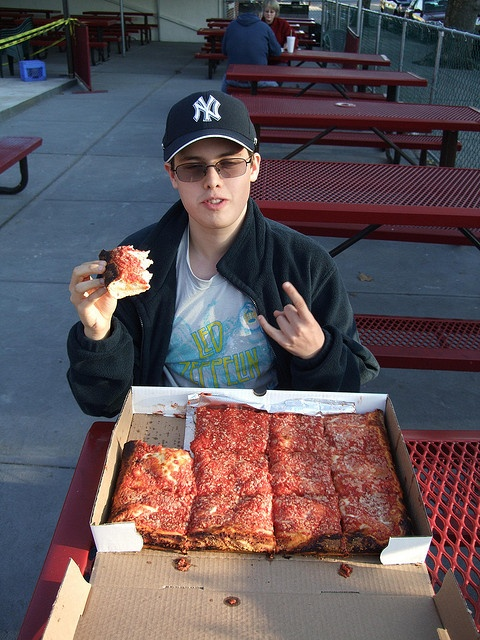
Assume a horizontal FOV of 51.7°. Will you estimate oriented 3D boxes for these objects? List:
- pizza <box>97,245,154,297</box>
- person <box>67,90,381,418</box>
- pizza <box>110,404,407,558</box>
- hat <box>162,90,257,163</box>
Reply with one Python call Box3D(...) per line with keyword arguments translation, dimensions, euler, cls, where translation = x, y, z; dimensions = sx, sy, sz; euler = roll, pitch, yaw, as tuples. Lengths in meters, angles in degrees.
Box3D(translation=(-0.337, -0.149, 1.490), dimensions=(0.181, 0.048, 0.169), euler=(-10, 54, -50), cls="pizza")
Box3D(translation=(-0.123, -0.124, 1.919), dimensions=(1.178, 1.368, 0.858), euler=(-1, 16, 0), cls="person")
Box3D(translation=(0.048, 0.351, 1.201), dimensions=(0.685, 0.060, 0.483), euler=(1, 28, -1), cls="pizza")
Box3D(translation=(-0.109, -0.693, 1.719), dimensions=(0.343, 0.205, 0.390), euler=(-2, 19, 4), cls="hat")
